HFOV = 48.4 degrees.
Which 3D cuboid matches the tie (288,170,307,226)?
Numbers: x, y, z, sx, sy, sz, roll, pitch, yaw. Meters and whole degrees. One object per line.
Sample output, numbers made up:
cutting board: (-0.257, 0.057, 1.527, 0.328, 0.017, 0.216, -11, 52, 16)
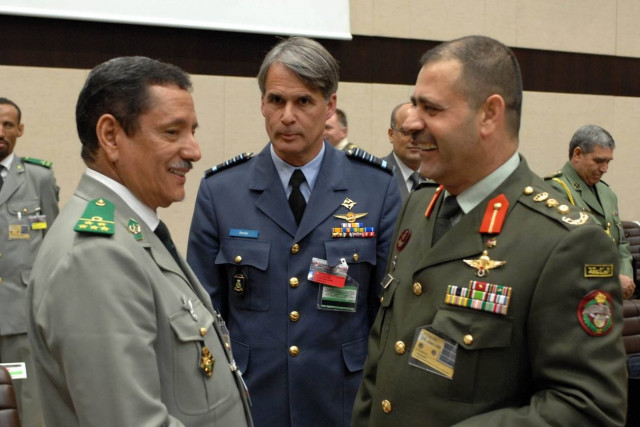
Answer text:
tie: (-0.130, -0.093, 4.144, 0.098, 0.331, 0.080, 0, -9, 0)
